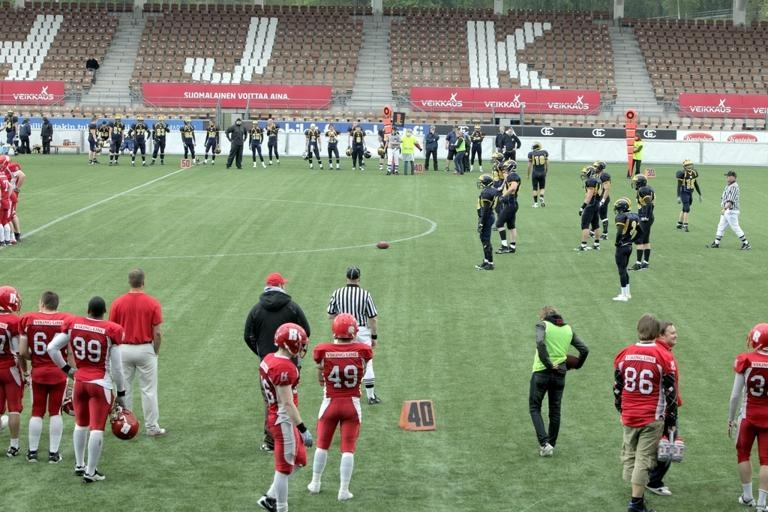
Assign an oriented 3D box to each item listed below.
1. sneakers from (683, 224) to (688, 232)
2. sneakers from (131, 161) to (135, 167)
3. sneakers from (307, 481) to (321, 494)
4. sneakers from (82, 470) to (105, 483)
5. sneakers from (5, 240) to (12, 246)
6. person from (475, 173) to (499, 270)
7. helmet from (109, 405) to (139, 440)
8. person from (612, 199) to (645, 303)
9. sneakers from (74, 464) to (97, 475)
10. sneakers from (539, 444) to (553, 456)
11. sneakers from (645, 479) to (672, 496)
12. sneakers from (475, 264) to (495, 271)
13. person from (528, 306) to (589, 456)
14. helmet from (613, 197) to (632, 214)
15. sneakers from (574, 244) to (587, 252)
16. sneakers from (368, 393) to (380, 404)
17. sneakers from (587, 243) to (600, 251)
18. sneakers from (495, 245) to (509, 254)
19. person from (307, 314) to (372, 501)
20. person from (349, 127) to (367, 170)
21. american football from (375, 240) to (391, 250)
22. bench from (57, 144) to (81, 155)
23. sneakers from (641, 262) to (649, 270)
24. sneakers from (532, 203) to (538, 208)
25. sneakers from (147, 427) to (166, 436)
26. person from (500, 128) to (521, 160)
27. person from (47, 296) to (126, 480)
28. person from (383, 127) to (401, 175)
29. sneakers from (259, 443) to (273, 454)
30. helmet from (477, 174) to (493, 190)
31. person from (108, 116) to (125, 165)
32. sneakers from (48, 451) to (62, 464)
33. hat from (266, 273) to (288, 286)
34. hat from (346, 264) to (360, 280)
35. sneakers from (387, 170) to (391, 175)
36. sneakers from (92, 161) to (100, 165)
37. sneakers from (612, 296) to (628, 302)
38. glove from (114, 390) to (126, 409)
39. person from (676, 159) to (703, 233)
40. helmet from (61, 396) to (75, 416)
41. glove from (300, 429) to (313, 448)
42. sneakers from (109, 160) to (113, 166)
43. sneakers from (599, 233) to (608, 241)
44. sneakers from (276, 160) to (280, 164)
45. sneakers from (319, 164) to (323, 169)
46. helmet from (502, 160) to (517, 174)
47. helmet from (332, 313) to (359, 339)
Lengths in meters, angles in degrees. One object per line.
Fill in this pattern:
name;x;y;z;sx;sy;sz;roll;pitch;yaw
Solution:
sneakers;10.179;-0.964;33.603;0.093;0.115;0.277;-1;8;3
sneakers;-11.513;-4.276;45.735;0.180;0.192;0.184;-4;11;-19
sneakers;-1.294;4.326;18.530;0.147;0.225;0.306;2;0;-14
sneakers;-5.422;4.122;18.582;0.453;0.204;0.176;-1;37;-22
sneakers;-11.218;-0.404;29.835;0.137;0.115;0.291;1;8;19
person;2.952;-1.007;28.615;0.626;2.702;1.306;-1;7;7
helmet;-4.952;3.187;18.890;0.590;0.467;0.498;42;-6;-35
person;6.385;-0.209;26.274;0.623;2.626;1.370;0;7;14
sneakers;-5.570;4.053;18.751;0.171;0.203;0.445;7;4;34
sneakers;3.172;3.770;19.433;0.289;0.257;0.201;-1;7;4
sneakers;5.098;4.319;18.590;0.513;0.233;0.201;5;15;-1
sneakers;2.913;0.314;28.445;0.501;0.209;0.190;2;4;2
person;3.328;2.432;19.541;0.910;2.853;0.972;-8;9;-40
helmet;6.271;-1.346;26.189;0.493;0.427;0.415;4;8;14
sneakers;6.048;-0.284;30.507;0.420;0.276;0.153;0;8;2
sneakers;-0.203;3.024;20.920;0.113;0.144;0.335;2;5;19
sneakers;6.531;-0.307;30.917;0.407;0.273;0.172;5;9;17
sneakers;3.652;-0.209;30.426;0.450;0.275;0.174;1;8;26
person;-0.785;2.769;18.433;1.101;3.399;0.747;1;8;20
person;-1.246;-5.172;46.936;0.609;2.082;1.552;-2;7;-4
american football;-0.055;-0.339;30.134;0.275;0.151;0.281;6;9;42
bench;-16.718;-5.736;52.780;1.072;0.385;1.316;-6;9;-33
sneakers;7.494;0.255;28.611;0.270;0.114;0.106;5;-3;-41
sneakers;5.671;-1.917;37.293;0.132;0.175;0.257;0;12;-5
sneakers;-4.536;3.500;19.866;0.370;0.174;0.155;-2;14;-10
person;5.429;-4.865;42.761;0.669;1.344;1.291;-1;7;6
person;-5.512;2.497;18.657;1.234;3.404;0.811;-3;7;-7
person;0.407;-4.754;44.903;0.667;2.042;1.435;-2;7;0
sneakers;-2.286;3.776;19.440;0.181;0.075;0.232;1;8;-11
helmet;2.895;-2.152;28.556;0.463;0.417;0.392;16;22;24
person;-12.434;-5.442;46.281;0.823;2.227;0.652;4;8;-32
sneakers;-6.284;3.859;19.043;0.119;0.138;0.327;3;5;5
hat;-2.093;0.459;19.393;0.334;0.255;0.492;2;8;5
hat;-0.620;0.342;20.394;0.206;0.162;0.304;3;23;1
sneakers;0.234;-3.800;44.805;0.130;0.210;0.213;-2;-3;8
sneakers;-13.456;-4.412;46.407;0.298;0.169;0.592;-3;7;-11
sneakers;6.138;1.096;25.942;0.144;0.150;0.356;-3;7;-28
glove;-4.993;2.722;18.893;0.241;0.337;0.109;9;2;25
person;10.129;-2.033;33.255;0.642;2.409;1.291;0;7;14
helmet;-6.037;2.919;19.081;0.296;0.374;0.336;5;10;-9
glove;-1.348;3.293;17.882;0.204;0.285;0.092;29;57;30
sneakers;-12.638;-4.338;46.101;0.134;0.179;0.432;-1;3;-14
sneakers;7.093;-0.627;32.118;0.380;0.254;0.134;6;17;11
sneakers;-5.107;-4.610;48.046;0.158;0.143;0.333;-6;-6;-11
sneakers;-2.936;-4.244;46.429;0.196;0.217;0.194;2;-4;-2
helmet;3.859;-2.757;30.310;0.438;0.431;0.383;16;17;36
helmet;-0.724;1.286;18.335;0.382;0.401;0.495;1;9;4
